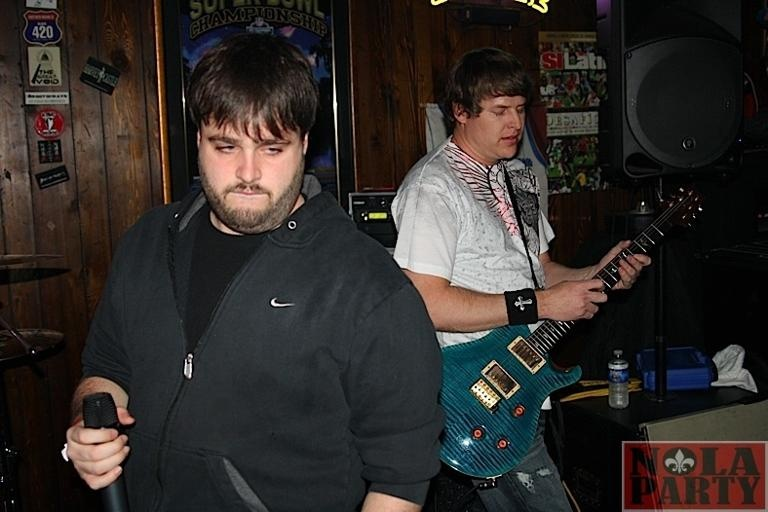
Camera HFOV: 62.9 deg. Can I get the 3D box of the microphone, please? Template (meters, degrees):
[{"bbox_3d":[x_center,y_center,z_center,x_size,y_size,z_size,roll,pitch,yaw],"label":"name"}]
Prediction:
[{"bbox_3d":[-0.830,0.586,1.879,0.112,0.378,0.116,-3,5,-24],"label":"microphone"}]

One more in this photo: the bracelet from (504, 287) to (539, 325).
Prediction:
[{"bbox_3d":[0.599,0.220,2.712,0.145,0.154,0.044,-10,-1,-18],"label":"bracelet"}]

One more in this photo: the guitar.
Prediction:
[{"bbox_3d":[0.717,0.303,3.181,1.727,0.565,0.168,-51,7,-37],"label":"guitar"}]

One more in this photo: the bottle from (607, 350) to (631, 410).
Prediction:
[{"bbox_3d":[1.225,0.638,3.289,0.113,0.290,0.117,-3,8,0],"label":"bottle"}]
